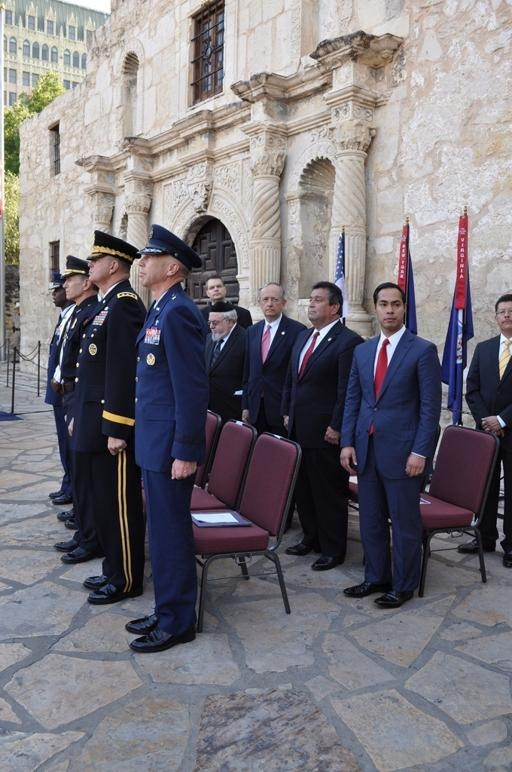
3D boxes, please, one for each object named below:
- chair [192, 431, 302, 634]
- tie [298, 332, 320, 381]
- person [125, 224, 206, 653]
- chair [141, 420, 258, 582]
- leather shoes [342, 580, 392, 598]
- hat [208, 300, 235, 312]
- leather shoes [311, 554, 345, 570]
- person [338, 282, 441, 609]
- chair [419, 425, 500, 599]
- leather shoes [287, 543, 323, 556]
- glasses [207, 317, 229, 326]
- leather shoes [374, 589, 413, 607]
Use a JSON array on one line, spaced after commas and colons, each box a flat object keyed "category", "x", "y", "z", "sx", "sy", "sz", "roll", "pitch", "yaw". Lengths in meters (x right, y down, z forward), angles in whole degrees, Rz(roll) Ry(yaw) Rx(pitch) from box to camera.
[{"category": "chair", "x": -0.120, "y": 0.662, "z": 3.427, "sx": 0.578, "sy": 0.778, "sz": 0.527, "roll": 0, "pitch": 7, "yaw": -16}, {"category": "tie", "x": 0.300, "y": -0.182, "z": 4.192, "sx": 0.060, "sy": 0.045, "sz": 0.423, "roll": -18, "pitch": 29, "yaw": 32}, {"category": "person", "x": -0.379, "y": 0.195, "z": 3.085, "sx": 0.338, "sy": 1.747, "sz": 0.487, "roll": 0, "pitch": 7, "yaw": -6}, {"category": "chair", "x": -0.317, "y": 0.598, "z": 3.783, "sx": 0.576, "sy": 0.803, "sz": 0.515, "roll": 0, "pitch": 5, "yaw": -37}, {"category": "leather shoes", "x": 0.543, "y": 1.001, "z": 3.629, "sx": 0.261, "sy": 0.088, "sz": 0.083, "roll": 2, "pitch": -7, "yaw": -18}, {"category": "hat", "x": -0.254, "y": -0.580, "z": 5.384, "sx": 0.151, "sy": 0.060, "sz": 0.145, "roll": -1, "pitch": -2, "yaw": -12}, {"category": "leather shoes", "x": 0.389, "y": 0.970, "z": 3.989, "sx": 0.180, "sy": 0.073, "sz": 0.065, "roll": 6, "pitch": -8, "yaw": -31}, {"category": "person", "x": 0.629, "y": 0.271, "z": 3.573, "sx": 0.524, "sy": 1.539, "sz": 0.421, "roll": 4, "pitch": 8, "yaw": 28}, {"category": "chair", "x": 0.921, "y": 0.639, "z": 3.830, "sx": 0.533, "sy": 0.771, "sz": 0.498, "roll": 1, "pitch": 7, "yaw": -23}, {"category": "leather shoes", "x": 0.279, "y": 0.962, "z": 4.297, "sx": 0.208, "sy": 0.075, "sz": 0.073, "roll": 8, "pitch": -10, "yaw": -19}, {"category": "glasses", "x": -0.266, "y": -0.477, "z": 5.325, "sx": 0.098, "sy": 0.028, "sz": 0.091, "roll": 3, "pitch": 0, "yaw": -38}, {"category": "leather shoes", "x": 0.656, "y": 1.011, "z": 3.467, "sx": 0.179, "sy": 0.063, "sz": 0.066, "roll": 7, "pitch": -12, "yaw": -32}]
